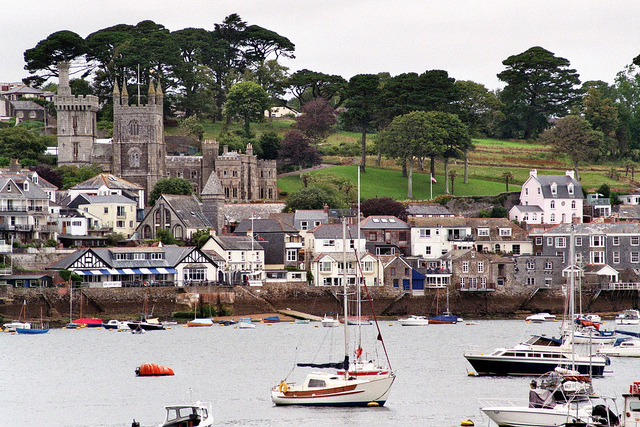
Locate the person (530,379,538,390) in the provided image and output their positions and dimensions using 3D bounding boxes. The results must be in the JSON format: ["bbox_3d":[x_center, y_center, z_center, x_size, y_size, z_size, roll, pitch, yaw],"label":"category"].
[{"bbox_3d":[21.561,17.021,185.480,0.776,0.876,0.731,1,-3,-6],"label":"person"}]

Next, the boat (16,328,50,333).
[{"bbox_3d":[-33.466,13.386,214.211,4.188,0.691,1.077,4,-6,-23],"label":"boat"}]

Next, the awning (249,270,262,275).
[{"bbox_3d":[-7.823,7.104,226.709,1.415,0.347,0.318,-1,0,-39],"label":"awning"}]

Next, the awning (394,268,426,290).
[{"bbox_3d":[11.154,7.864,225.298,2.912,2.255,3.012,0,-1,-10],"label":"awning"}]

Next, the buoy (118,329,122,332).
[{"bbox_3d":[-23.590,13.463,215.920,0.392,0.252,0.242,-1,0,-15],"label":"buoy"}]

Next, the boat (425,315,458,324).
[{"bbox_3d":[14.776,12.474,222.564,4.013,1.002,1.164,2,-5,5],"label":"boat"}]

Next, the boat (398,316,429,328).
[{"bbox_3d":[11.005,12.772,221.341,4.257,1.240,1.234,3,-4,-8],"label":"boat"}]

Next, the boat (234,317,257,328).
[{"bbox_3d":[-8.872,12.748,219.219,2.320,1.051,3.004,-1,0,-2],"label":"boat"}]

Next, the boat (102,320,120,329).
[{"bbox_3d":[-24.848,12.847,216.729,2.149,0.740,0.676,1,-3,21],"label":"boat"}]

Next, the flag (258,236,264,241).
[{"bbox_3d":[-7.502,2.960,232.434,0.706,0.505,0.490,-1,0,-3],"label":"flag"}]

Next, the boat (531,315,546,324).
[{"bbox_3d":[26.356,12.409,221.688,1.690,0.826,1.066,-1,0,2],"label":"boat"}]

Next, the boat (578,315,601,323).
[{"bbox_3d":[32.178,12.315,219.335,1.417,0.638,1.824,-1,2,-41],"label":"boat"}]

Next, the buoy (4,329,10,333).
[{"bbox_3d":[-36.591,13.427,214.254,0.599,0.338,0.746,-1,0,-17],"label":"buoy"}]

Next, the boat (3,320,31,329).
[{"bbox_3d":[-35.352,12.779,214.455,1.887,0.659,1.342,-1,-1,17],"label":"boat"}]

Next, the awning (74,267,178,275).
[{"bbox_3d":[-23.092,6.762,221.198,11.852,0.775,1.307,-1,0,-21],"label":"awning"}]

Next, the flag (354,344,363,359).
[{"bbox_3d":[4.105,13.942,188.967,0.580,1.254,0.777,13,-1,-40],"label":"flag"}]

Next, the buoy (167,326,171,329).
[{"bbox_3d":[-17.878,13.237,217.047,0.368,0.238,0.909,-1,0,-5],"label":"buoy"}]

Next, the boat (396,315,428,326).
[{"bbox_3d":[10.874,12.588,221.334,4.209,1.176,1.237,2,-4,-4],"label":"boat"}]
